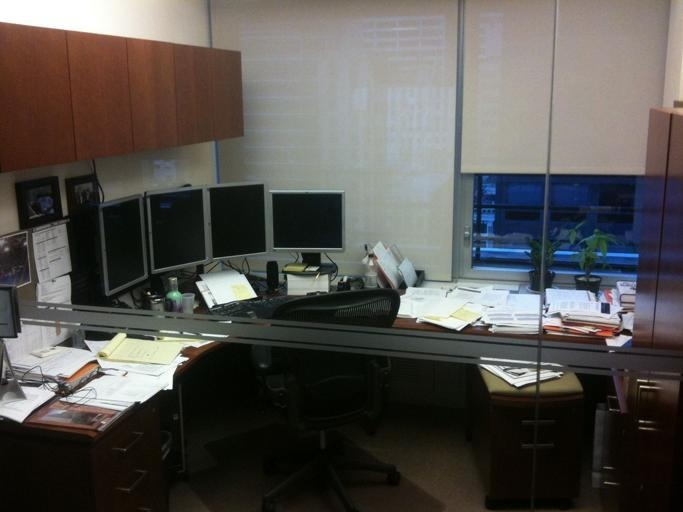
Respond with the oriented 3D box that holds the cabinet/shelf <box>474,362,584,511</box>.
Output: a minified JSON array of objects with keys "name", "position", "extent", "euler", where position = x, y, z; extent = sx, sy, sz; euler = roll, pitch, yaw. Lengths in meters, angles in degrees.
[{"name":"cabinet/shelf","position":[0.445,0.443,1.500],"extent":[0.193,0.284,0.380],"euler":[0,2,3]}]

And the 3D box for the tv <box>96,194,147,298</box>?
[{"name":"tv","position":[-0.617,-0.034,1.626],"extent":[0.143,0.261,0.084],"euler":[-11,14,-29]}]

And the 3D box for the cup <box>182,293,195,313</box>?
[{"name":"cup","position":[-0.414,0.125,1.556],"extent":[0.042,0.045,0.042],"euler":[0,-13,0]}]

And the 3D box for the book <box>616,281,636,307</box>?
[{"name":"book","position":[0.611,0.081,1.239],"extent":[0.038,0.017,0.051],"euler":[3,15,14]}]

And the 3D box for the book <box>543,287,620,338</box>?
[{"name":"book","position":[0.531,0.125,1.280],"extent":[0.165,0.122,0.072],"euler":[1,13,22]}]

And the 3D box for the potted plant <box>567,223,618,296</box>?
[{"name":"potted plant","position":[0.536,0.007,1.247],"extent":[0.077,0.139,0.094],"euler":[9,-8,-40]}]

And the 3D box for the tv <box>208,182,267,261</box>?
[{"name":"tv","position":[-0.286,-0.097,1.596],"extent":[0.177,0.216,0.015],"euler":[-14,38,-30]}]

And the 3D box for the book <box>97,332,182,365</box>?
[{"name":"book","position":[-0.545,0.254,1.553],"extent":[0.175,0.037,0.104],"euler":[3,34,4]}]

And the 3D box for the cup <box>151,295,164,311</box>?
[{"name":"cup","position":[-0.504,0.128,1.575],"extent":[0.042,0.041,0.028],"euler":[2,1,-7]}]

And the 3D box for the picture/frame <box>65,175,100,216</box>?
[{"name":"picture/frame","position":[-0.720,-0.166,1.621],"extent":[0.090,0.120,0.015],"euler":[-12,-21,-5]}]

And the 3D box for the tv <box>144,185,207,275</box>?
[{"name":"tv","position":[-0.494,-0.077,1.692],"extent":[0.024,0.264,0.205],"euler":[19,24,42]}]

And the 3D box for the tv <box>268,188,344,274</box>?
[{"name":"tv","position":[-0.089,-0.061,1.445],"extent":[0.185,0.188,0.061],"euler":[5,10,33]}]

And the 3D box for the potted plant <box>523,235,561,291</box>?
[{"name":"potted plant","position":[0.448,0.014,1.287],"extent":[0.085,0.126,0.070],"euler":[2,-2,36]}]

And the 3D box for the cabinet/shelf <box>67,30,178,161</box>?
[{"name":"cabinet/shelf","position":[-0.605,-0.440,1.573],"extent":[0.116,0.326,0.354],"euler":[5,9,36]}]
